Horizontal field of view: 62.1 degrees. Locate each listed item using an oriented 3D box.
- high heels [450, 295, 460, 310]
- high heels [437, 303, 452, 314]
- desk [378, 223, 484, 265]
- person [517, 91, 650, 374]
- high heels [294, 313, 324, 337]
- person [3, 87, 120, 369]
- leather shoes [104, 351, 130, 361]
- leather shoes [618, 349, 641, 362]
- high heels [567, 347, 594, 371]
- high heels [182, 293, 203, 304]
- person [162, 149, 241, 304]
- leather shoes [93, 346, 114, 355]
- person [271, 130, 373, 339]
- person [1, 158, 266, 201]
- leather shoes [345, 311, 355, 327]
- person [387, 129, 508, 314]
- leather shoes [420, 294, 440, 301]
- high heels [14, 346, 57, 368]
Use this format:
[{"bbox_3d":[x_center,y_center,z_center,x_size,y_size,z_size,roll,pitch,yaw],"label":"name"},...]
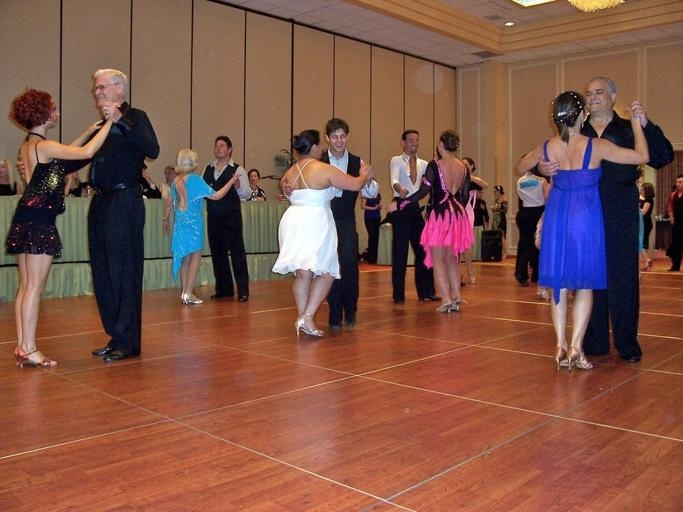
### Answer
[{"bbox_3d":[1.187,0.493,5.937,0.082,0.073,0.160,-14,7,-2],"label":"high heels"},{"bbox_3d":[1.073,0.519,5.851,0.161,0.101,0.093,-1,5,-8],"label":"high heels"},{"bbox_3d":[1.495,-0.182,11.075,1.481,0.551,1.056,0,0,-11],"label":"desk"},{"bbox_3d":[1.594,-0.185,3.813,0.734,1.851,0.324,0,4,4],"label":"person"},{"bbox_3d":[-0.260,0.581,4.750,0.246,0.145,0.132,1,2,-41],"label":"high heels"},{"bbox_3d":[-1.920,-0.209,3.826,0.718,1.878,0.357,0,4,0],"label":"person"},{"bbox_3d":[-1.558,0.694,3.926,0.146,0.061,0.060,9,-7,-36],"label":"leather shoes"},{"bbox_3d":[2.032,0.700,3.986,0.059,0.070,0.155,-3,-13,-12],"label":"leather shoes"},{"bbox_3d":[1.601,0.692,3.784,0.083,0.122,0.245,-1,-1,31],"label":"high heels"},{"bbox_3d":[-1.659,0.473,6.273,0.199,0.102,0.116,-4,4,-17],"label":"high heels"},{"bbox_3d":[-1.612,-0.348,6.420,0.601,1.716,0.641,-2,5,-18],"label":"person"},{"bbox_3d":[-1.713,0.681,4.057,0.142,0.066,0.079,4,3,0],"label":"leather shoes"},{"bbox_3d":[-0.188,-0.185,4.645,0.699,1.708,0.380,0,4,1],"label":"person"},{"bbox_3d":[-2.152,-0.786,5.815,1.189,0.307,0.799,-2,2,-39],"label":"person"},{"bbox_3d":[0.087,0.568,5.131,0.070,0.126,0.127,-1,-35,3],"label":"leather shoes"},{"bbox_3d":[1.119,-0.409,6.366,0.733,1.882,1.313,1,5,13],"label":"person"},{"bbox_3d":[1.046,0.482,6.672,0.234,0.115,0.087,-3,4,-8],"label":"leather shoes"},{"bbox_3d":[-2.057,0.683,3.826,0.241,0.121,0.135,0,-1,-6],"label":"high heels"}]
